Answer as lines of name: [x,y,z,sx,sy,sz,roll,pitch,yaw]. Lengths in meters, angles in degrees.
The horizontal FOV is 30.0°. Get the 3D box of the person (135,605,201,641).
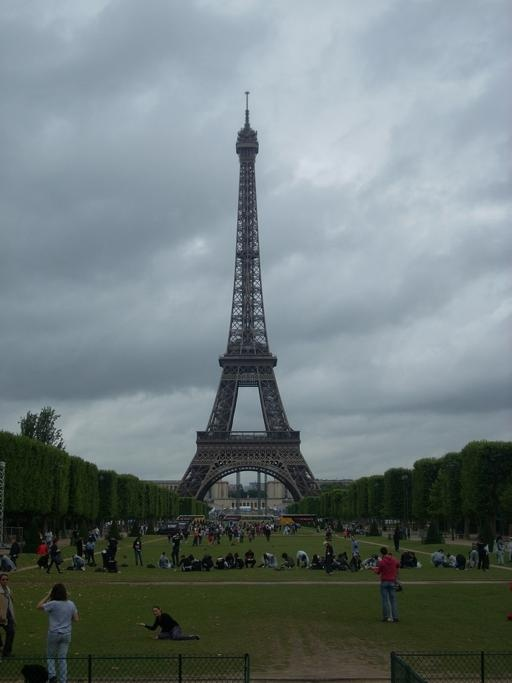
person: [-1.662,5.528,18.700,0.920,0.639,0.547,-4,-8,7]

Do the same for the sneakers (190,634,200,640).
sneakers: [-1.203,5.805,18.680,0.142,0.078,0.190,2,-7,2]
